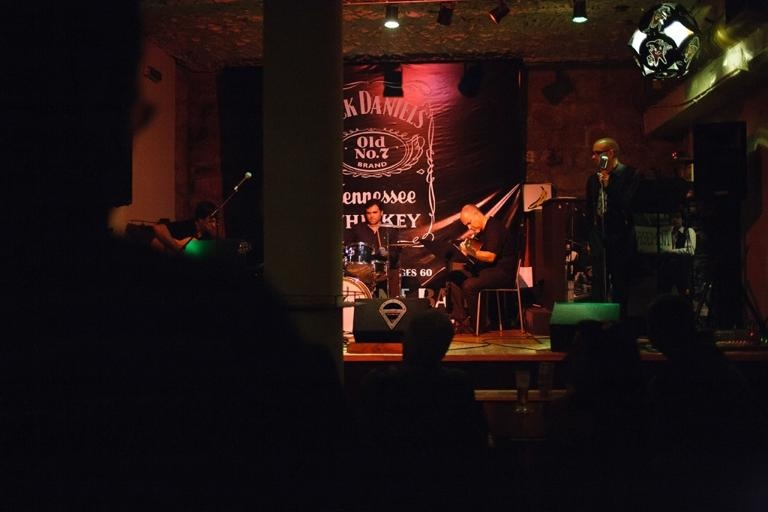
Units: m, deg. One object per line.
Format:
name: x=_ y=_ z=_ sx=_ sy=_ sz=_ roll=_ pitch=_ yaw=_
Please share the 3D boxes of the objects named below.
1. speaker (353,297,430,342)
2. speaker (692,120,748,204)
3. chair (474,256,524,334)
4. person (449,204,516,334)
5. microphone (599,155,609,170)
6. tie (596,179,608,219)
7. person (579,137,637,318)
speaker: x=0.023 y=0.490 z=5.257 sx=0.679 sy=0.346 sz=0.313 roll=2 pitch=-7 yaw=-1
speaker: x=2.892 y=-0.820 z=6.312 sx=0.415 sy=0.626 sz=0.273 roll=-1 pitch=-1 yaw=20
chair: x=1.034 y=0.485 z=6.883 sx=0.499 sy=0.511 sz=0.892 roll=-12 pitch=-6 yaw=8
person: x=0.886 y=0.088 z=6.904 sx=0.609 sy=1.188 sz=0.890 roll=0 pitch=-1 yaw=-13
microphone: x=1.832 y=-0.790 z=6.107 sx=0.064 sy=0.129 sz=0.312 roll=-1 pitch=-2 yaw=13
tie: x=1.913 y=-0.484 z=6.403 sx=0.091 sy=0.307 sz=0.264 roll=-1 pitch=-1 yaw=16
person: x=2.021 y=-0.313 z=6.459 sx=0.434 sy=1.577 sz=0.919 roll=-1 pitch=-1 yaw=15
